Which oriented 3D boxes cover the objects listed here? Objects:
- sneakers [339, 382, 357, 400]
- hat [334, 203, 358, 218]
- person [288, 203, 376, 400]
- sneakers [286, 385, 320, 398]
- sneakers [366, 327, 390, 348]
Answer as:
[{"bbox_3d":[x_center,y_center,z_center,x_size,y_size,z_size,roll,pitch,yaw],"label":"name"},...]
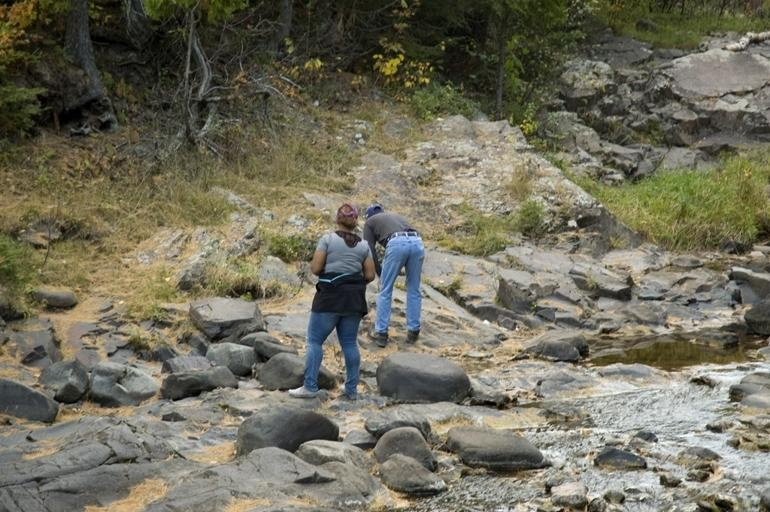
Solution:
[{"bbox_3d":[-0.762,2.746,21.744,0.195,0.186,0.375,-9,29,-44],"label":"sneakers"},{"bbox_3d":[-0.787,-0.918,21.494,0.297,0.305,0.259,-3,-2,-23],"label":"hat"},{"bbox_3d":[-0.986,0.934,21.467,1.470,3.898,0.596,0,9,-4],"label":"person"},{"bbox_3d":[-1.657,2.751,21.590,0.605,0.295,0.236,5,2,3],"label":"sneakers"},{"bbox_3d":[-0.137,1.766,23.099,0.564,0.273,0.225,35,10,11],"label":"sneakers"}]
